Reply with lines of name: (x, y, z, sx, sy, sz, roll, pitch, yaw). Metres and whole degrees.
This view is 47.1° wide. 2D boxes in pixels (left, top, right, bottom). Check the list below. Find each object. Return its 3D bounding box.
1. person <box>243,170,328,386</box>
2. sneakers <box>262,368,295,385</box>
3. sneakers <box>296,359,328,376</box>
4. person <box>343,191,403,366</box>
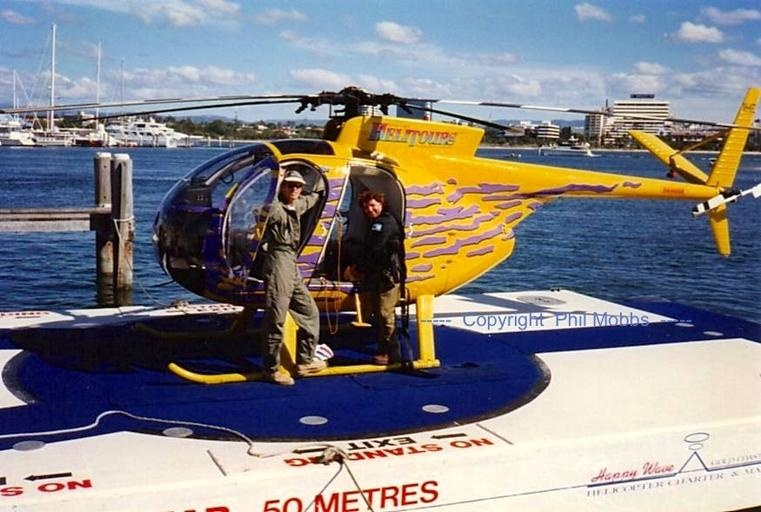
person: (-1.209, 0.300, 12.132, 1.020, 2.930, 0.949, 1, 15, -13)
sneakers: (-1.467, 1.681, 12.157, 0.499, 0.138, 0.210, 1, 8, 18)
sneakers: (-0.978, 1.588, 12.379, 0.557, 0.158, 0.163, -7, 11, -25)
person: (-0.048, 0.325, 12.713, 0.660, 2.503, 0.790, -3, 17, -27)
